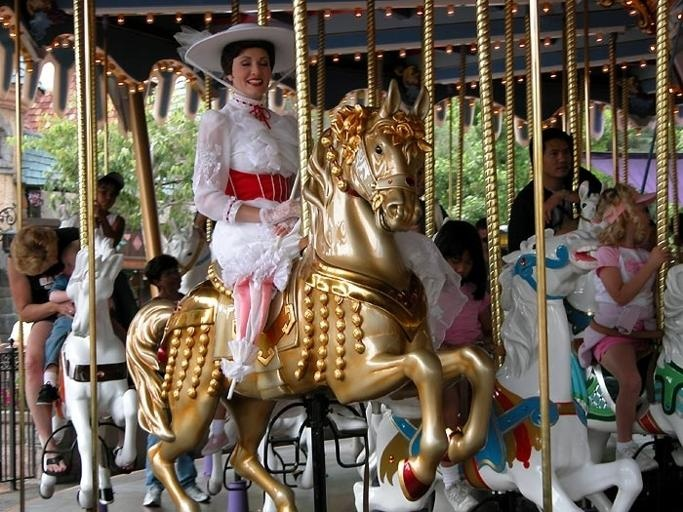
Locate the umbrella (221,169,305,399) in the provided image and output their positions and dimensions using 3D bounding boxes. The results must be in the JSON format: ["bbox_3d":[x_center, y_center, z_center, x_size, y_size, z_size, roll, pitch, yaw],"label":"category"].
[{"bbox_3d":[-0.463,0.211,4.209,0.472,1.048,0.420,0,1,-2],"label":"umbrella"}]

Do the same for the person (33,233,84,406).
[{"bbox_3d":[-2.122,0.494,5.890,0.307,1.359,0.716,0,-1,-36],"label":"person"}]

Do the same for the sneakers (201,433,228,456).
[{"bbox_3d":[-0.955,1.418,5.916,0.113,0.099,0.239,-4,0,25],"label":"sneakers"}]

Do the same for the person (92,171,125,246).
[{"bbox_3d":[-2.172,-0.456,7.384,0.230,0.724,1.521,-1,2,-16],"label":"person"}]

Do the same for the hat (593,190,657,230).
[{"bbox_3d":[1.844,-0.350,5.180,0.338,0.193,0.241,-26,9,4],"label":"hat"}]

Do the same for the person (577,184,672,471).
[{"bbox_3d":[1.843,0.428,5.206,0.529,1.813,1.359,0,1,17],"label":"person"}]

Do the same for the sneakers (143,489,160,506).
[{"bbox_3d":[-1.520,1.923,6.273,0.146,0.135,0.147,-1,1,-15],"label":"sneakers"}]

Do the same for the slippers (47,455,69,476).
[{"bbox_3d":[-2.186,1.601,6.026,0.161,0.191,0.238,-1,2,-19],"label":"slippers"}]

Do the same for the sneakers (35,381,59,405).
[{"bbox_3d":[-2.231,1.038,5.974,0.103,0.137,0.196,1,-26,-4],"label":"sneakers"}]

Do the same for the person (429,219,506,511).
[{"bbox_3d":[0.860,0.729,5.631,0.393,1.983,1.418,0,1,10],"label":"person"}]
